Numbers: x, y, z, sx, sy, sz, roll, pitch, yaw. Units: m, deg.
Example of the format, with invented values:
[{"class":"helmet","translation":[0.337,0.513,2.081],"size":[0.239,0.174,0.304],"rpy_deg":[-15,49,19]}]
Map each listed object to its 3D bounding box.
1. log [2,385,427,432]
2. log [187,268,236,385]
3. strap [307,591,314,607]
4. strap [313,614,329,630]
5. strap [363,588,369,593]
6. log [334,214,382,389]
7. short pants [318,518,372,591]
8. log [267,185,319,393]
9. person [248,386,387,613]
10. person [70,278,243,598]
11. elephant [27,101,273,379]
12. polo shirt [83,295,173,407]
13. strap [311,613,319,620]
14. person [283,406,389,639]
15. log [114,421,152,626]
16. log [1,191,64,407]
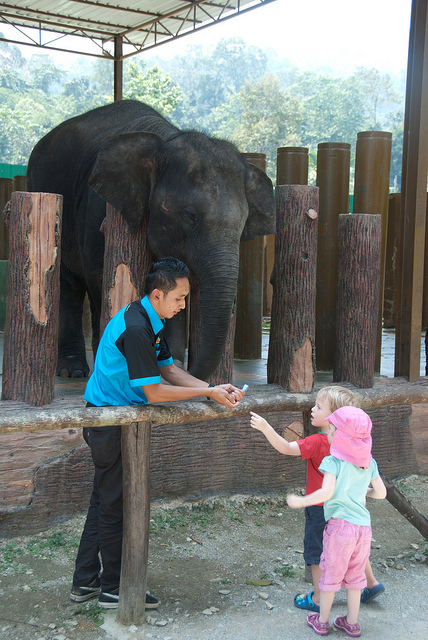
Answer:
[{"class":"log","translation":[0.114,0.351,2.460],"size":[1.863,0.118,0.229],"rpy_deg":[0,2,-33]},{"class":"log","translation":[0.013,0.071,3.544],"size":[0.287,0.672,0.313],"rpy_deg":[-9,22,-22]},{"class":"strap","translation":[0.373,1.079,2.380],"size":[0.025,0.027,0.041],"rpy_deg":[3,13,-15]},{"class":"strap","translation":[0.374,1.058,2.158],"size":[0.024,0.027,0.064],"rpy_deg":[-1,3,-10]},{"class":"strap","translation":[0.607,1.073,2.443],"size":[0.012,0.014,0.016],"rpy_deg":[-8,-9,-3]},{"class":"log","translation":[0.915,-0.130,3.929],"size":[0.268,1.094,0.245],"rpy_deg":[2,2,11]},{"class":"short pants","translation":[0.451,0.801,2.133],"size":[0.189,0.240,0.141],"rpy_deg":[-6,17,-35]},{"class":"log","translation":[0.466,-0.203,3.594],"size":[0.263,1.149,0.256],"rpy_deg":[2,2,-38]},{"class":"person","translation":[0.418,0.692,2.516],"size":[0.578,0.844,0.408],"rpy_deg":[4,1,2]},{"class":"person","translation":[-0.226,0.410,2.351],"size":[0.583,1.141,0.460],"rpy_deg":[4,2,-7]},{"class":"elephant","translation":[-0.508,-0.447,4.015],"size":[1.094,1.638,1.969],"rpy_deg":[3,3,-42]},{"class":"polo shirt","translation":[-0.306,0.114,2.187],"size":[0.318,0.406,0.397],"rpy_deg":[1,1,-6]},{"class":"strap","translation":[0.364,1.064,2.207],"size":[0.023,0.005,0.022],"rpy_deg":[-41,-9,-2]},{"class":"person","translation":[0.444,0.705,2.185],"size":[0.313,0.843,0.613],"rpy_deg":[2,2,16]},{"class":"log","translation":[-0.293,0.723,2.238],"size":[0.114,0.742,0.174],"rpy_deg":[1,2,-8]},{"class":"log","translation":[-0.866,-0.090,2.922],"size":[0.269,1.004,0.272],"rpy_deg":[1,2,-14]}]
